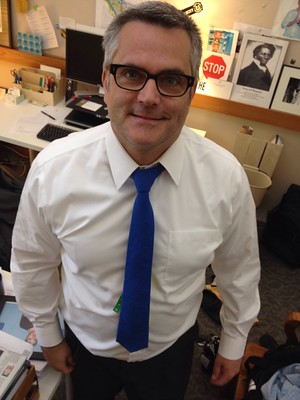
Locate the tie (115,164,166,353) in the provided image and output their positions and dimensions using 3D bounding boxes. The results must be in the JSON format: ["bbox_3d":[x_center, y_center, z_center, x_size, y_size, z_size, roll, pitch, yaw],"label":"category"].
[{"bbox_3d":[-0.031,0.160,0.714,0.080,0.432,0.177,4,30,-4],"label":"tie"}]

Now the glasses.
[{"bbox_3d":[0.005,-0.247,0.591,0.183,0.046,0.057,5,32,-6],"label":"glasses"}]

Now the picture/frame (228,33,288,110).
[{"bbox_3d":[0.800,-0.963,2.103,0.325,0.509,0.006,15,-5,12],"label":"picture/frame"}]

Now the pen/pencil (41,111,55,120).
[{"bbox_3d":[-0.790,-0.650,2.200,0.167,0.029,0.019,35,13,24],"label":"pen/pencil"}]
